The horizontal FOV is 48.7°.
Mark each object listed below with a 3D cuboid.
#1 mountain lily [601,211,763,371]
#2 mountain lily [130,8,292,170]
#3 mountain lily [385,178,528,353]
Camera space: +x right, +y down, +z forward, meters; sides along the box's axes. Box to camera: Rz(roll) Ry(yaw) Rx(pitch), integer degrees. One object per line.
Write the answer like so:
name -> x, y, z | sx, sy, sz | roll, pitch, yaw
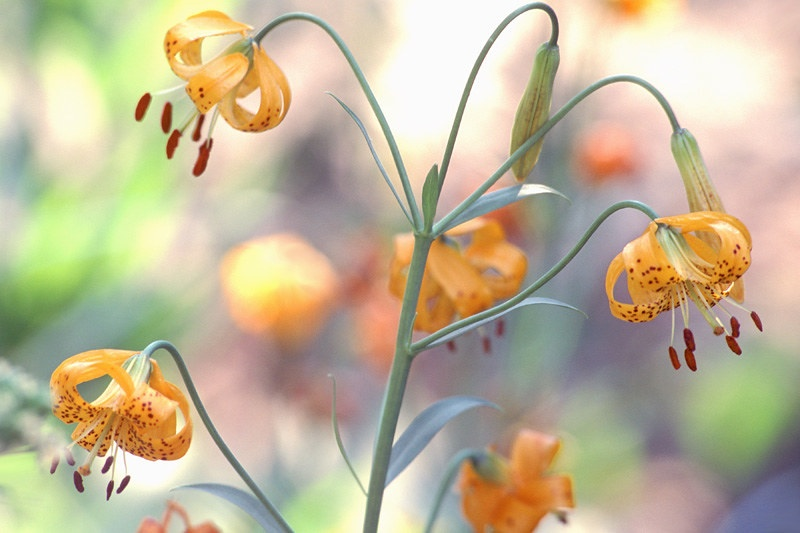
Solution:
mountain lily -> 0.514, 0.029, 1.582 | 0.216, 0.265, 0.221 | -24, -3, -5
mountain lily -> -0.339, -0.307, 1.647 | 0.251, 0.300, 0.225 | 20, 9, -40
mountain lily -> 0.107, 0.028, 1.838 | 0.238, 0.282, 0.127 | 18, -20, 5
